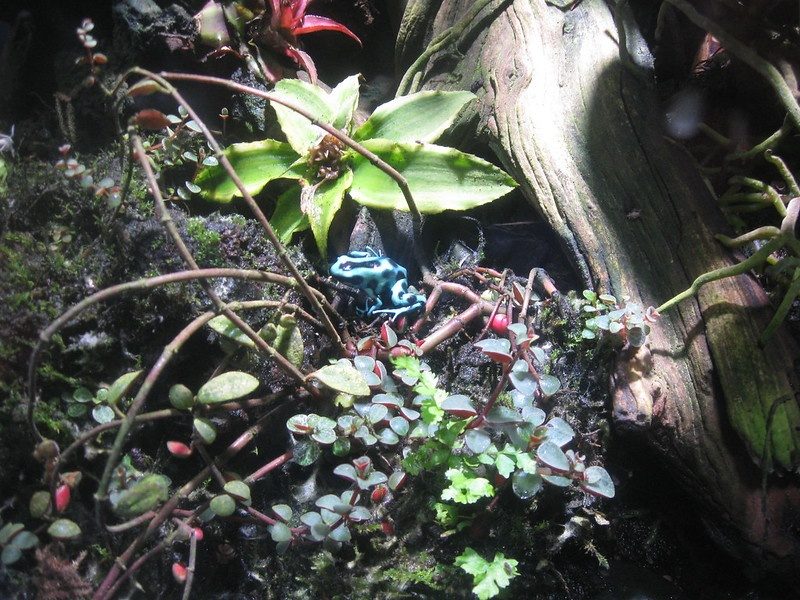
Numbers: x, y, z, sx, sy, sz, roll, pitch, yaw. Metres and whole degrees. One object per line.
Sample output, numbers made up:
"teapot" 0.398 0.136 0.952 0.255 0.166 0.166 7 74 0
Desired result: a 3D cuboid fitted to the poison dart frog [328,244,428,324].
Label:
"poison dart frog" -0.107 -0.072 3.622 0.321 0.152 0.418 8 50 -21
